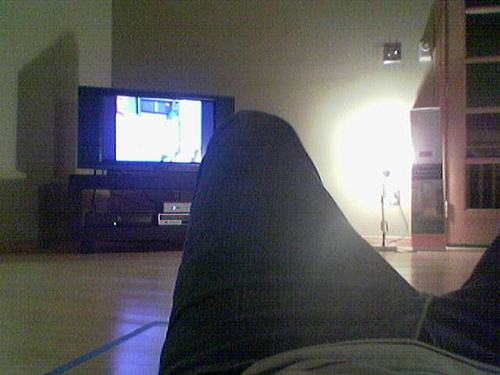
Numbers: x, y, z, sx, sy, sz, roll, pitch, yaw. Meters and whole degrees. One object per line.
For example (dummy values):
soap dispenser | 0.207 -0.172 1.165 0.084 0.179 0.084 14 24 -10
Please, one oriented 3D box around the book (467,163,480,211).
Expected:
book | 1.579 -0.002 3.302 0.021 0.323 0.076 5 -6 41

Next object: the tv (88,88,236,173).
tv | -0.573 -0.328 2.790 0.588 0.370 0.061 0 -5 -12

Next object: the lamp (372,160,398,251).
lamp | 0.935 0.121 3.229 0.150 0.570 0.584 0 8 17
